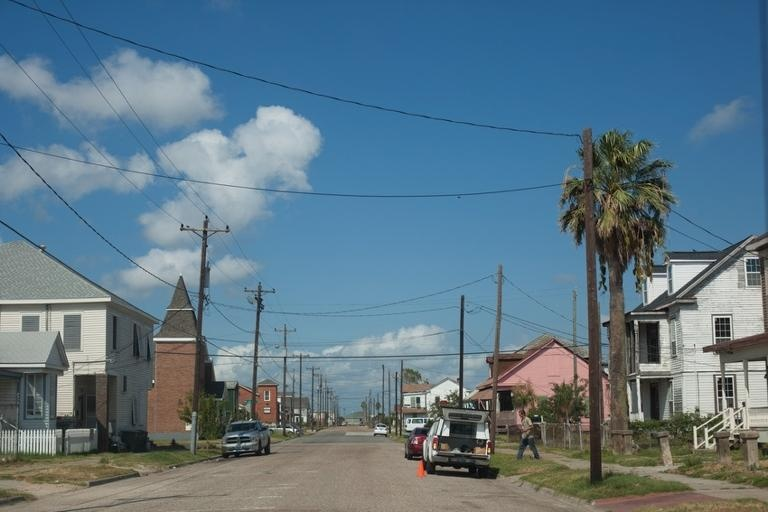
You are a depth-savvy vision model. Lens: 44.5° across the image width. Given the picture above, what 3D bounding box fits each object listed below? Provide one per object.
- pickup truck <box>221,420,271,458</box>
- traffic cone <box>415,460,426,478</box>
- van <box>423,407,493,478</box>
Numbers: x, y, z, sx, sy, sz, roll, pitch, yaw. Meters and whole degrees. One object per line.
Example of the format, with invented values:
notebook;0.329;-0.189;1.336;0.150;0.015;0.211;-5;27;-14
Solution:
pickup truck;-8.859;12.001;61.879;1.663;1.470;4.011;-2;-17;2
traffic cone;1.903;10.630;46.562;0.615;0.936;0.658;1;-7;-4
van;3.652;9.151;46.058;2.132;2.397;4.077;2;-4;-3
